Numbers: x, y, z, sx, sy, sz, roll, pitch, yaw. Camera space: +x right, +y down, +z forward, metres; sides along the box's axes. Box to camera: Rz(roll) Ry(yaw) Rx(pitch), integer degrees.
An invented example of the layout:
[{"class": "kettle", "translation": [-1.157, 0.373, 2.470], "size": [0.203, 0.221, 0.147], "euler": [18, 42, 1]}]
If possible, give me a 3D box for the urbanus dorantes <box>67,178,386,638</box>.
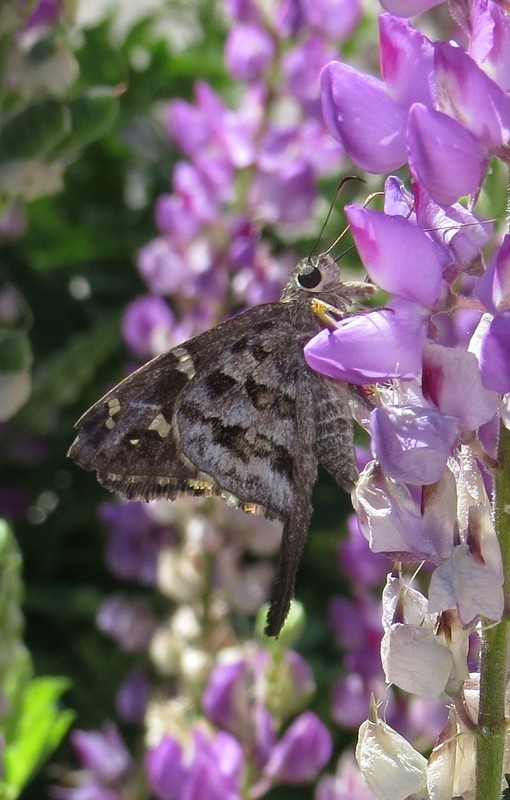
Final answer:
[{"class": "urbanus dorantes", "translation": [0.024, 0.024, 0.588], "size": [0.203, 0.106, 0.186], "euler": [-41, 84, -8]}]
